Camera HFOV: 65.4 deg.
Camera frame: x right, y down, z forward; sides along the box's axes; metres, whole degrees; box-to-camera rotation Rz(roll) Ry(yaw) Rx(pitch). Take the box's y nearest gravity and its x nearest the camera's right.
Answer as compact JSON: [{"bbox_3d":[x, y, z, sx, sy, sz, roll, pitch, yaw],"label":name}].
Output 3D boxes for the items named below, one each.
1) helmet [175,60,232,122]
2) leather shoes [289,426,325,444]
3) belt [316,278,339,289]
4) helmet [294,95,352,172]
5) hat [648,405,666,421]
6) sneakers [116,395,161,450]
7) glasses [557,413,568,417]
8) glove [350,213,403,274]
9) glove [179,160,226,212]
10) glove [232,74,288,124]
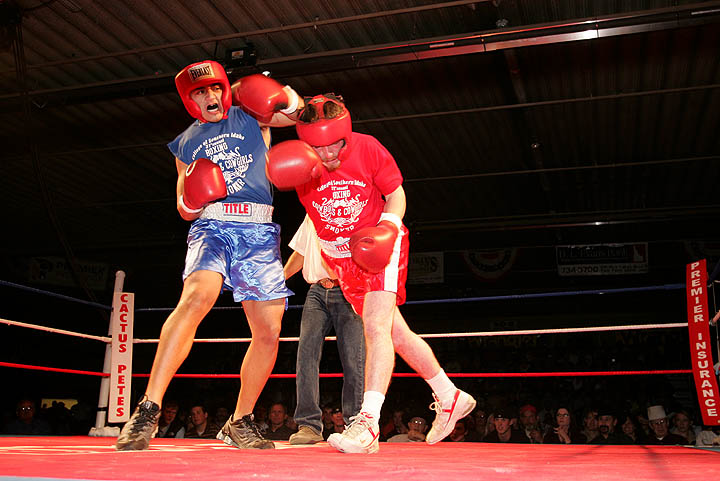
[{"bbox_3d":[-0.893,-0.911,3.337,0.281,0.304,0.339,-28,10,-13],"label":"helmet"},{"bbox_3d":[-0.344,1.280,3.688,0.227,0.093,0.093,12,-16,-31],"label":"leather shoes"},{"bbox_3d":[-0.215,0.289,3.847,0.103,0.045,0.097,7,-9,1],"label":"belt"},{"bbox_3d":[-0.169,-0.584,3.097,0.289,0.372,0.351,-10,-44,13],"label":"helmet"},{"bbox_3d":[3.554,2.066,6.717,0.173,0.173,0.176,-8,-23,27],"label":"hat"},{"bbox_3d":[-1.158,0.966,2.952,0.181,0.264,0.147,13,-23,-26],"label":"sneakers"},{"bbox_3d":[2.447,2.086,6.776,0.115,0.069,0.066,-4,-21,16],"label":"glasses"},{"bbox_3d":[0.087,-0.007,3.059,0.267,0.352,0.186,2,-21,3],"label":"glove"},{"bbox_3d":[-0.884,-0.324,3.171,0.232,0.285,0.142,-8,-23,27],"label":"glove"},{"bbox_3d":[-0.569,-0.839,3.236,0.241,0.316,0.117,-29,-36,-19],"label":"glove"}]
